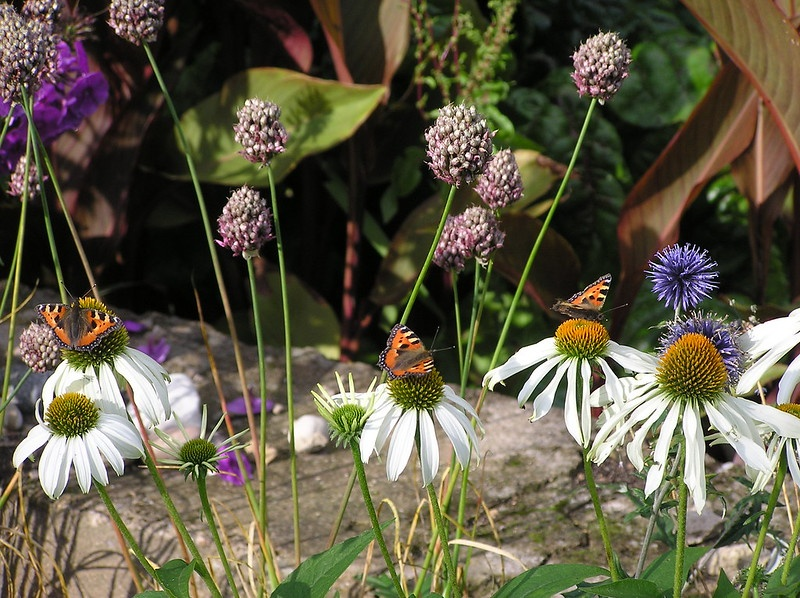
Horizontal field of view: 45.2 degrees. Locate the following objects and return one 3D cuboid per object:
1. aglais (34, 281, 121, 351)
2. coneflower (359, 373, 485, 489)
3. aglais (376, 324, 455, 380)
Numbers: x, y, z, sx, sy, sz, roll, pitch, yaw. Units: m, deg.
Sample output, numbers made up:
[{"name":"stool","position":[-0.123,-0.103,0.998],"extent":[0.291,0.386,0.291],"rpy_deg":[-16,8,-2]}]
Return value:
[{"name":"aglais","position":[-0.983,0.079,2.901],"extent":[0.265,0.119,0.120],"rpy_deg":[3,17,16]},{"name":"coneflower","position":[0.055,0.364,2.813],"extent":[0.305,0.294,0.319],"rpy_deg":[-11,30,-39]},{"name":"aglais","position":[0.017,0.141,2.850],"extent":[0.133,0.174,0.150],"rpy_deg":[-2,10,-5]}]
